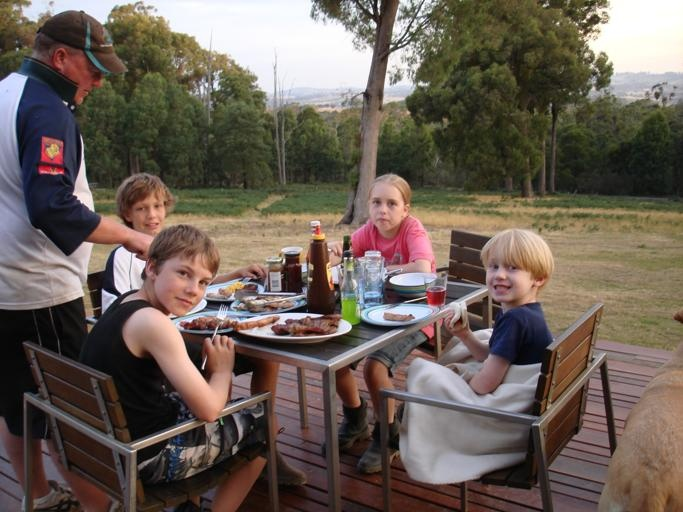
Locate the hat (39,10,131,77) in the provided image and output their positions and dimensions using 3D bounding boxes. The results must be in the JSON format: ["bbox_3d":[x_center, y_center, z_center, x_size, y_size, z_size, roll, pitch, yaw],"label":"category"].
[{"bbox_3d":[-1.285,-1.092,2.945,0.412,0.248,0.275,15,15,-12],"label":"hat"}]

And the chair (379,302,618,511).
[{"bbox_3d":[0.794,0.646,2.794,0.848,1.199,1.164,4,8,30],"label":"chair"}]

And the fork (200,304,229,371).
[{"bbox_3d":[-0.581,0.381,2.639,0.046,0.052,0.437,19,39,-3],"label":"fork"}]

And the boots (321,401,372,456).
[{"bbox_3d":[0.003,1.011,3.518,0.158,0.320,0.419,1,7,37],"label":"boots"}]

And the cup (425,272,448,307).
[{"bbox_3d":[0.469,0.174,2.928,0.095,0.164,0.154,0,-2,-2],"label":"cup"}]

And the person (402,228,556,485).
[{"bbox_3d":[0.667,0.458,2.842,0.658,1.170,0.876,2,1,9],"label":"person"}]
